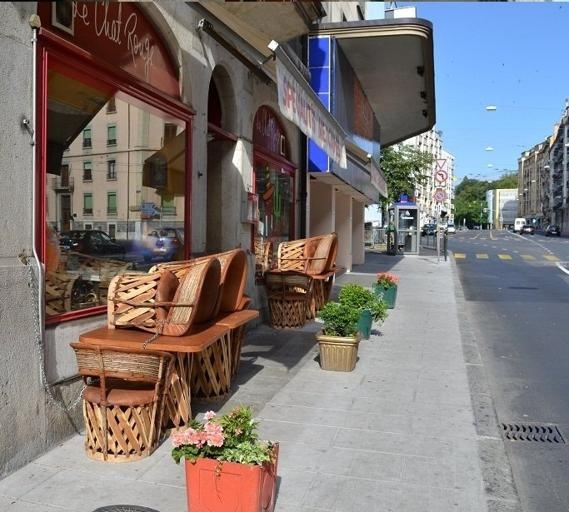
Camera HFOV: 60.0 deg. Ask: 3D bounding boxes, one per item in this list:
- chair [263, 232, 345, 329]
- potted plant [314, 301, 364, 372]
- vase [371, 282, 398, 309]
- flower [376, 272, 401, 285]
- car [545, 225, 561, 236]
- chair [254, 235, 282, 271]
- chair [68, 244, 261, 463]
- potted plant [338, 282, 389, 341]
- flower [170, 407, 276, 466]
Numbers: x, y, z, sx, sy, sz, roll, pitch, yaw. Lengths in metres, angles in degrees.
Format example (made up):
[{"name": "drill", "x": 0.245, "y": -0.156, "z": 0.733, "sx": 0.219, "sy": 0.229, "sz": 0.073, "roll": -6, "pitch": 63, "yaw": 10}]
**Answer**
[{"name": "chair", "x": 0.125, "y": 0.447, "z": 9.365, "sx": 1.334, "sy": 1.754, "sz": 1.642, "roll": 0, "pitch": -1, "yaw": 30}, {"name": "potted plant", "x": 0.653, "y": 0.981, "z": 6.028, "sx": 0.512, "sy": 0.802, "sz": 0.434, "roll": 0, "pitch": 3, "yaw": 8}, {"name": "vase", "x": 2.130, "y": 0.799, "z": 10.311, "sx": 0.673, "sy": 0.723, "sz": 0.566, "roll": 1, "pitch": 1, "yaw": 10}, {"name": "flower", "x": 2.233, "y": 0.482, "z": 10.465, "sx": 0.419, "sy": 0.262, "sz": 0.438, "roll": 3, "pitch": 1, "yaw": -13}, {"name": "car", "x": 41.047, "y": -3.720, "z": 75.909, "sx": 1.476, "sy": 1.277, "sz": 2.450, "roll": 1, "pitch": 17, "yaw": 27}, {"name": "chair", "x": -0.342, "y": -0.080, "z": 9.477, "sx": 0.370, "sy": 0.560, "sz": 0.583, "roll": 0, "pitch": -1, "yaw": 8}, {"name": "chair", "x": -0.879, "y": 0.701, "z": 3.943, "sx": 0.920, "sy": 1.391, "sz": 1.472, "roll": 1, "pitch": 3, "yaw": 18}, {"name": "potted plant", "x": 1.195, "y": 0.898, "z": 7.224, "sx": 0.837, "sy": 0.954, "sz": 0.795, "roll": 1, "pitch": 2, "yaw": -1}, {"name": "flower", "x": -0.297, "y": 0.941, "z": 2.612, "sx": 0.365, "sy": 0.297, "sz": 0.394, "roll": 1, "pitch": 3, "yaw": 15}]
